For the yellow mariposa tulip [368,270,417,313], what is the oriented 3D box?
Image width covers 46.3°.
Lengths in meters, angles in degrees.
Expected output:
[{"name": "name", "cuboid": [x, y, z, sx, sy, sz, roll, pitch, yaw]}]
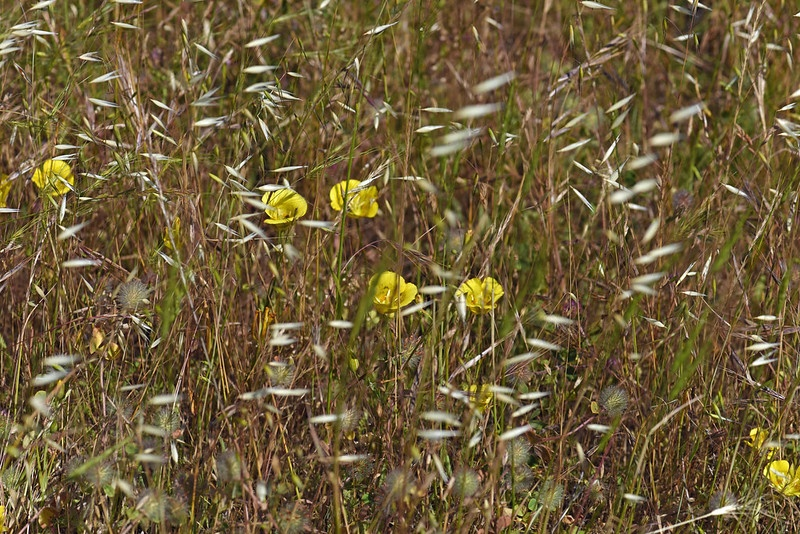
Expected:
[{"name": "yellow mariposa tulip", "cuboid": [-0.019, 0.041, 2.284, 0.098, 0.055, 0.105, -20, 52, -25]}]
